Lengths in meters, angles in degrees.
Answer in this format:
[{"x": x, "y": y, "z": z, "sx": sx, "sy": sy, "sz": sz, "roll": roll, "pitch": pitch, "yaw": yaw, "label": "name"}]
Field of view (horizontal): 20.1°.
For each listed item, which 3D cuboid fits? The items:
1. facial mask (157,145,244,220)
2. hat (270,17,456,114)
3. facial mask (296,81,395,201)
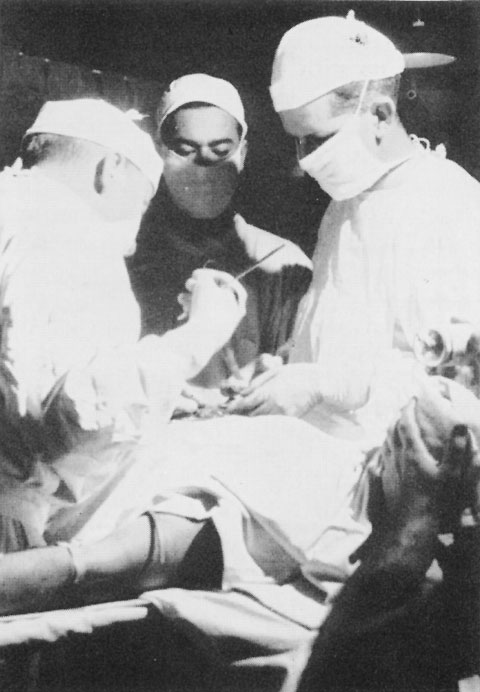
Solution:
[{"x": -0.216, "y": -0.882, "z": 7.295, "sx": 0.384, "sy": 0.313, "sz": 0.381, "roll": 2, "pitch": 4, "yaw": -10, "label": "facial mask"}, {"x": 0.575, "y": -1.554, "z": 7.461, "sx": 0.862, "sy": 0.431, "sz": 0.642, "roll": -2, "pitch": -1, "yaw": -10, "label": "hat"}, {"x": 0.619, "y": -1.072, "z": 7.395, "sx": 0.369, "sy": 0.613, "sz": 0.513, "roll": 40, "pitch": 23, "yaw": 8, "label": "facial mask"}]
